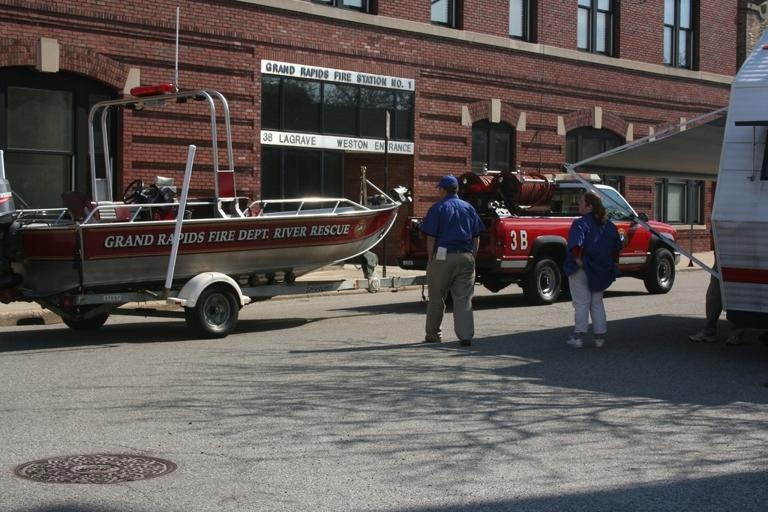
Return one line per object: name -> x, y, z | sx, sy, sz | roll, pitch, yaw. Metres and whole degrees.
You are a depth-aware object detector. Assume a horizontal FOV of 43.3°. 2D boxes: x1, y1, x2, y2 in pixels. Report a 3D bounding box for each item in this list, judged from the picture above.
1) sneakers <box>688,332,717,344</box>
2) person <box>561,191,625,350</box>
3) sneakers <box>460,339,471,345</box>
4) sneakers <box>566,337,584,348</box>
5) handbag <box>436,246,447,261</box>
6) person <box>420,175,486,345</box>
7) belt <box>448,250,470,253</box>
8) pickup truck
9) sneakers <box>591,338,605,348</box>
sneakers -> 5.238, 1.381, 16.003 | 0.454, 0.170, 0.157 | 3, 4, 3
person -> 3.349, 0.219, 15.512 | 0.875, 2.488, 0.464 | -1, 4, 4
sneakers -> 1.322, 1.394, 15.523 | 0.183, 0.100, 0.081 | -2, 4, -11
sneakers -> 3.064, 1.378, 15.525 | 0.260, 0.178, 0.356 | 0, 4, 11
handbag -> 0.928, -0.022, 15.588 | 0.162, 0.205, 0.056 | 0, 5, 12
person -> 1.107, 0.266, 15.651 | 0.933, 2.335, 0.537 | -1, 4, -2
belt -> 1.196, -0.054, 15.607 | 0.306, 0.052, 0.056 | -2, 4, -19
pickup truck -> 3.667, -0.437, 21.186 | 6.026, 2.104, 2.850 | -3, 4, -39
sneakers -> 3.439, 1.413, 15.538 | 0.127, 0.128, 0.321 | -2, -6, 11
